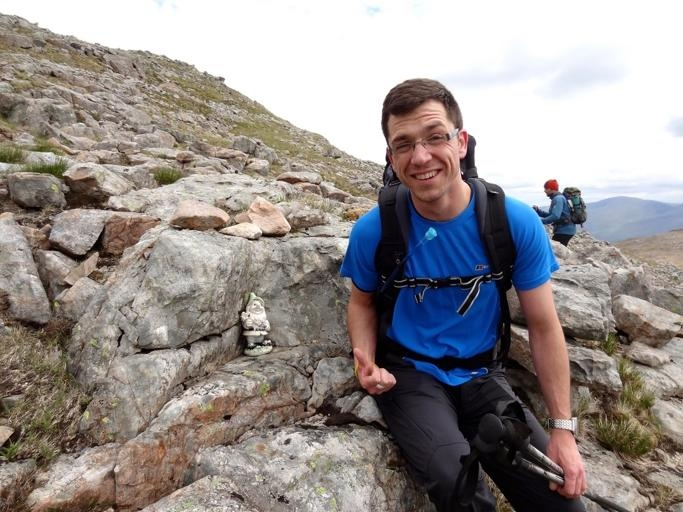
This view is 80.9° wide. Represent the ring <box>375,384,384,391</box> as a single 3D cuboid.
[{"bbox_3d":[0.479,1.639,5.027,0.078,0.029,0.091,4,9,-42],"label":"ring"}]

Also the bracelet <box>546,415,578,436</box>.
[{"bbox_3d":[2.610,1.986,4.739,0.301,0.276,0.194,3,8,21],"label":"bracelet"}]
